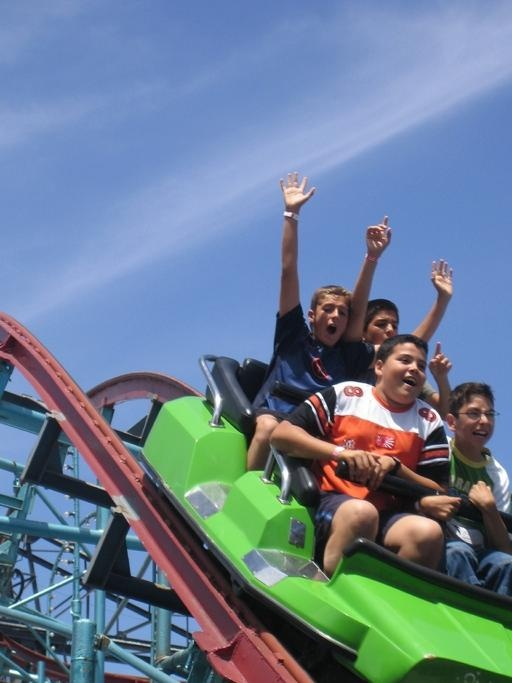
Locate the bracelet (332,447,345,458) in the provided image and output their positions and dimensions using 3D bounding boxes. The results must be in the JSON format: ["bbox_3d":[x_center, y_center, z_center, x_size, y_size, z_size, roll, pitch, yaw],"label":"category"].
[{"bbox_3d":[0.362,0.486,4.483,0.038,0.045,0.044,7,12,-22],"label":"bracelet"}]

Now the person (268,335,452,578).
[{"bbox_3d":[0.465,0.557,4.613,0.547,1.077,0.588,29,-57,-3],"label":"person"}]

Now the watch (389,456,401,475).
[{"bbox_3d":[0.619,0.556,4.533,0.059,0.070,0.031,-1,-11,17],"label":"watch"}]
